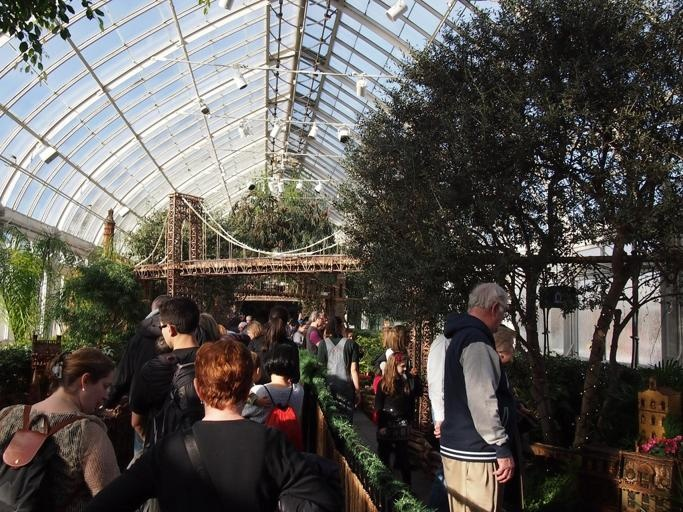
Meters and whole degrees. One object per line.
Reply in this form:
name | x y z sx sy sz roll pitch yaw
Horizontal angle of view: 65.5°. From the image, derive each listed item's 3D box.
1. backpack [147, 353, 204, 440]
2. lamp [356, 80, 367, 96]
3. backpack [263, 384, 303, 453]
backpack | -1.091 0.905 3.452 0.318 0.588 0.272 -2 -3 28
lamp | 0.631 -5.417 17.054 0.263 0.680 0.382 2 -11 -3
backpack | -0.413 1.228 3.751 0.210 0.631 0.192 -8 -5 -2
